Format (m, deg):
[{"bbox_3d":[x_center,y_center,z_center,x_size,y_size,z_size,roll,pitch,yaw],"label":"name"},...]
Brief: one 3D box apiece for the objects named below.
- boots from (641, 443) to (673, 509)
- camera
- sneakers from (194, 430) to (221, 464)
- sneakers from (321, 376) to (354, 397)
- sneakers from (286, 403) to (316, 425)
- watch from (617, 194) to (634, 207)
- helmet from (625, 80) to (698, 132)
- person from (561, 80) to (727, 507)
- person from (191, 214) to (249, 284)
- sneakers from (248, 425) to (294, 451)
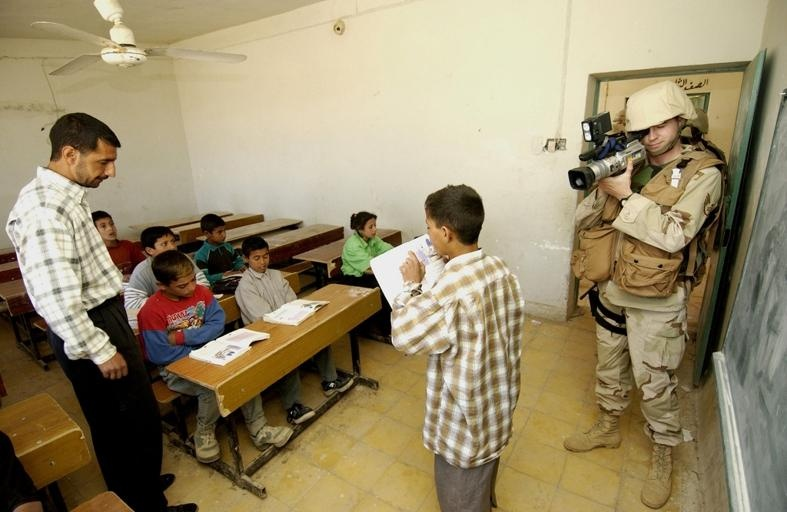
[{"bbox_3d":[1.844,1.472,3.487,0.158,0.202,0.519,6,41,32],"label":"boots"},{"bbox_3d":[1.409,-0.677,3.262,0.682,0.516,0.203,-30,20,-29],"label":"camera"},{"bbox_3d":[-1.395,1.418,3.699,0.130,0.128,0.302,-2,5,-42],"label":"sneakers"},{"bbox_3d":[-0.474,1.106,4.258,0.222,0.085,0.147,-13,22,-22],"label":"sneakers"},{"bbox_3d":[-0.747,1.253,3.971,0.223,0.102,0.131,3,11,36],"label":"sneakers"},{"bbox_3d":[1.554,-0.362,3.300,0.072,0.052,0.079,28,14,14],"label":"watch"},{"bbox_3d":[1.757,-0.969,3.271,0.346,0.232,0.382,-11,18,44],"label":"helmet"},{"bbox_3d":[1.730,0.181,3.478,0.919,2.605,1.143,6,25,25],"label":"person"},{"bbox_3d":[-1.823,-0.053,5.152,0.447,0.810,0.561,7,21,24],"label":"person"},{"bbox_3d":[-0.913,1.363,3.787,0.326,0.175,0.161,-10,18,-1],"label":"sneakers"}]
